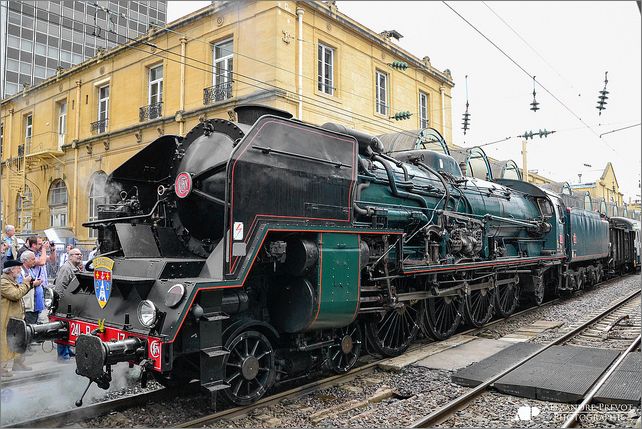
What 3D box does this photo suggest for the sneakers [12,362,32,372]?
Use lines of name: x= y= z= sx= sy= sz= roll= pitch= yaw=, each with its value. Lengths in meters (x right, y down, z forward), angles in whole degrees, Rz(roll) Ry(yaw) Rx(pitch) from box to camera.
sneakers: x=-6.100 y=3.066 z=10.345 sx=0.375 sy=0.262 sz=0.156 roll=1 pitch=-4 yaw=-16
